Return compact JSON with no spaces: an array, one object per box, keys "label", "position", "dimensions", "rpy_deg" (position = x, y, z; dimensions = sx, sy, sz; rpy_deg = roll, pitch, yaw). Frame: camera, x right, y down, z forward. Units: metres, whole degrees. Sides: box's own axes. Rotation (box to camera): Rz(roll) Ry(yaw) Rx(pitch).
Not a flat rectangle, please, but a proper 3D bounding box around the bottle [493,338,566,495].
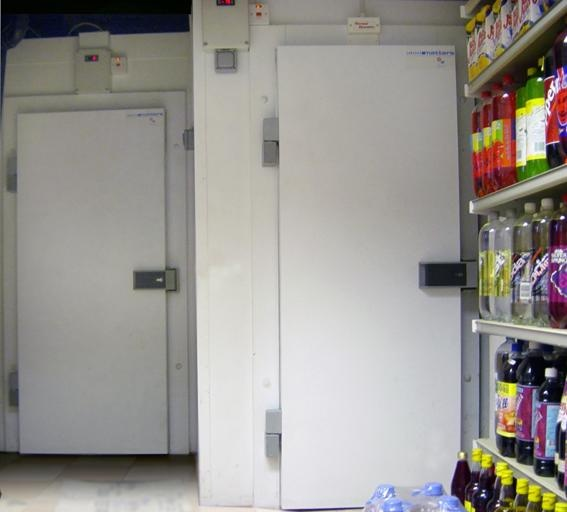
[{"label":"bottle","position":[0.894,0.551,2.341],"dimensions":[0.208,0.491,0.472],"rpy_deg":[0,-4,-7]}]
